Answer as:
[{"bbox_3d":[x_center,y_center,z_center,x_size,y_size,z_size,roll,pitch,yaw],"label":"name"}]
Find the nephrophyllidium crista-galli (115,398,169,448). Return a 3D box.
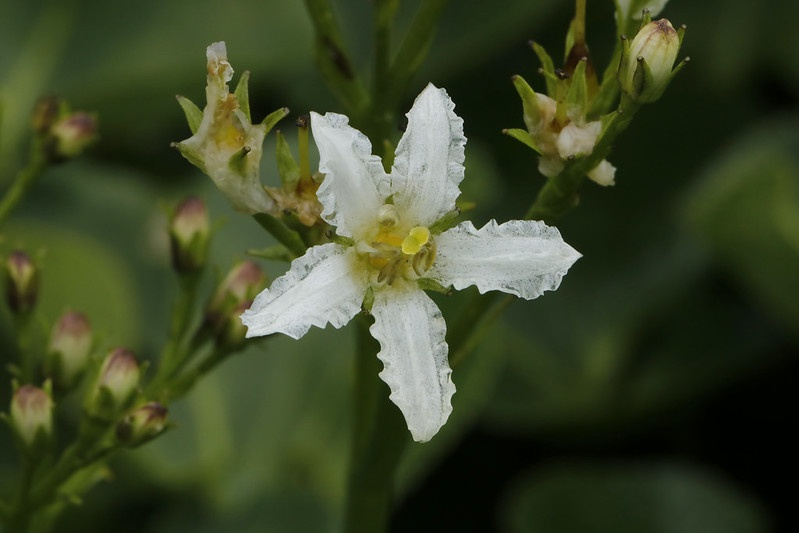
[{"bbox_3d":[-0.441,0.275,1.530,0.096,0.060,0.059,-32,7,19],"label":"nephrophyllidium crista-galli"}]

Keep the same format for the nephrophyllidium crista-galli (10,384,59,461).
[{"bbox_3d":[-0.648,0.284,1.573,0.072,0.160,0.082,2,20,-13],"label":"nephrophyllidium crista-galli"}]
